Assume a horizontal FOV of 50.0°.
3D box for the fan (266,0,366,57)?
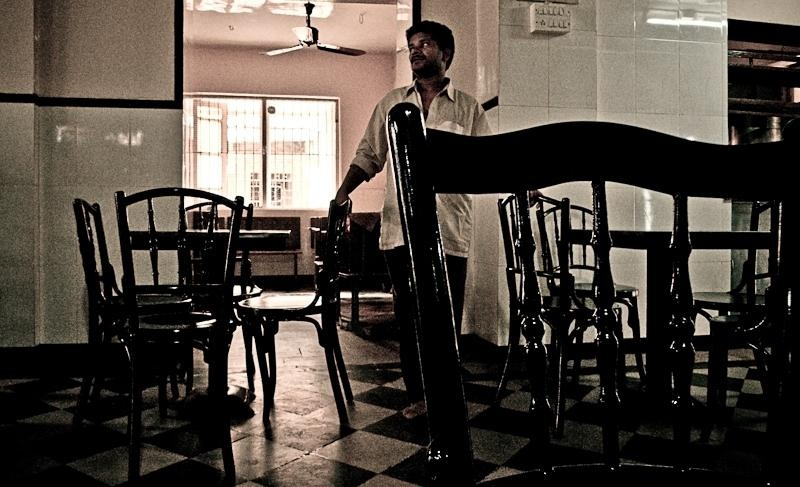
[{"bbox_3d":[-1.143,-2.441,10.349,0.867,0.453,0.971,-8,-2,27],"label":"fan"}]
